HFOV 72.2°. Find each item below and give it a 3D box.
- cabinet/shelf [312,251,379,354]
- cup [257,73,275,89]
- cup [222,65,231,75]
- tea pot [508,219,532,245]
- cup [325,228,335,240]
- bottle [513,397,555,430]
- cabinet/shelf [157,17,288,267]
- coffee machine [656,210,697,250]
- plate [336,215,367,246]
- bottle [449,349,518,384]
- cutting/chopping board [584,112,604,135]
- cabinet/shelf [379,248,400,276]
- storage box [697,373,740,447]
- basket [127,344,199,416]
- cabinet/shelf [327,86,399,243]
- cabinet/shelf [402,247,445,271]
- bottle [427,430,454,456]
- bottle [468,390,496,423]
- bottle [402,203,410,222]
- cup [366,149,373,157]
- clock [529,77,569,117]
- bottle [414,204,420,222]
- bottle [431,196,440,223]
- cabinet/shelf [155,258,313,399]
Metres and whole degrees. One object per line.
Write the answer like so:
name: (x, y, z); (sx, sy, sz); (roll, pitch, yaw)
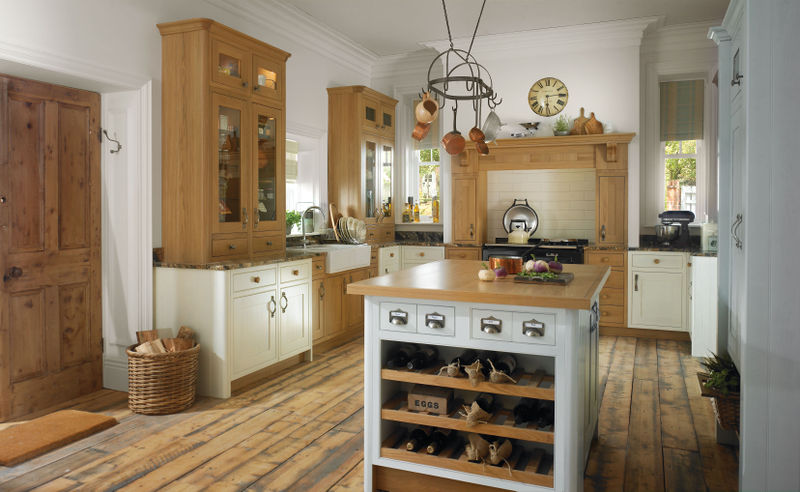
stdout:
cabinet/shelf: (-0.655, 0.634, 6.080); (0.499, 1.035, 1.258); (0, 1, 17)
cup: (-1.434, -1.758, 5.877); (0.154, 0.178, 0.192); (3, 5, 33)
cup: (-1.736, -1.751, 5.483); (0.071, 0.123, 0.069); (1, 5, 0)
tea pot: (1.675, -0.192, 7.684); (0.384, 0.345, 0.313); (2, -2, -45)
cup: (-0.961, -0.147, 7.460); (0.129, 0.209, 0.231); (-2, 0, -11)
bottle: (0.959, 1.196, 3.935); (0.278, 0.120, 0.244); (3, 13, 12)
cabinet/shelf: (-1.882, -1.055, 5.670); (0.826, 2.344, 1.199); (7, 15, 24)
coffee machine: (3.533, -0.203, 6.988); (0.583, 0.579, 0.366); (3, 3, 21)
plate: (-0.670, -0.205, 7.349); (0.218, 0.334, 0.511); (-12, 18, -44)
bottle: (0.638, 0.871, 3.949); (0.295, 0.086, 0.262); (1, 2, 25)
cutting/chopping board: (2.524, -1.553, 7.093); (0.231, 0.293, 0.043); (-1, -2, 4)
cabinet/shelf: (-0.159, 0.213, 7.459); (0.209, 0.349, 0.381); (-1, 1, 24)
storage box: (2.537, 1.379, 4.589); (0.516, 0.374, 0.527); (0, 2, 24)
basket: (-2.226, 1.215, 5.163); (0.617, 0.506, 0.616); (-1, 3, -36)
cabinet/shelf: (-0.519, -1.122, 7.864); (1.179, 2.214, 0.550); (-12, 18, -42)
cabinet/shelf: (0.339, 0.129, 7.937); (0.564, 0.492, 0.340); (0, 2, 22)
bottle: (0.297, 1.445, 4.006); (0.110, 0.110, 0.396); (6, 11, 22)
bottle: (0.594, 1.167, 3.949); (0.200, 0.132, 0.272); (3, 13, 9)
bottle: (0.104, -0.497, 8.533); (0.141, 0.263, 0.094); (2, 14, 6)
cup: (-0.427, -1.297, 7.734); (0.099, 0.091, 0.176); (-2, 6, 0)
clock: (2.035, -2.005, 7.396); (0.586, 0.546, 0.059); (1, 2, 16)
bottle: (0.255, -0.499, 8.529); (0.100, 0.247, 0.180); (1, 13, 2)
bottle: (0.550, -0.553, 8.468); (0.130, 0.363, 0.228); (1, 13, 0)
cabinet/shelf: (-1.576, 0.777, 6.086); (1.234, 1.651, 1.990); (-2, 0, 21)
